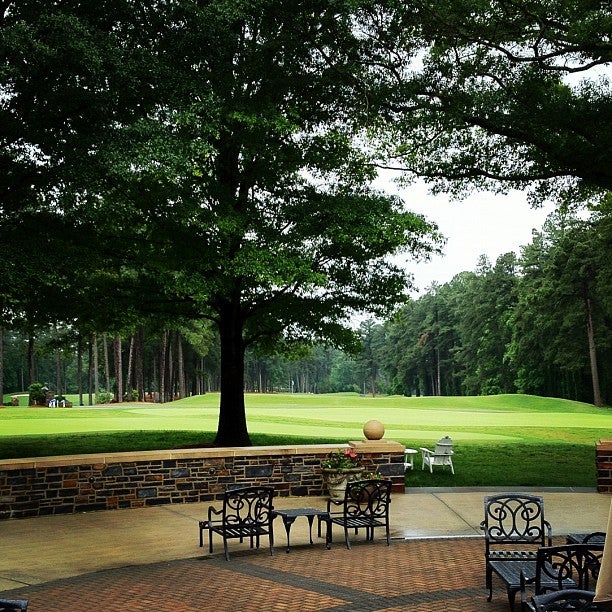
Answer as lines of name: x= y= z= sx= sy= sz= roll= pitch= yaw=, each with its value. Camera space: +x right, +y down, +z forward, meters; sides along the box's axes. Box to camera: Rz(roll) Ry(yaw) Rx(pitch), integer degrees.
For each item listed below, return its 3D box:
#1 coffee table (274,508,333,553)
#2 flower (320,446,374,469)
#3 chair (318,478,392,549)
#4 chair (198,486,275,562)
coffee table: x=-0.081 y=3.026 z=9.027 sx=0.860 sy=0.395 sz=0.820 roll=1 pitch=-10 yaw=-2
flower: x=0.776 y=2.886 z=12.503 sx=0.988 sy=0.432 sz=1.105 roll=-2 pitch=-7 yaw=4
chair: x=0.752 y=2.932 z=9.424 sx=0.911 sy=0.938 sz=0.872 roll=4 pitch=-10 yaw=-17
chair: x=-0.941 y=2.940 z=9.110 sx=0.832 sy=0.887 sz=1.286 roll=5 pitch=-12 yaw=-28
